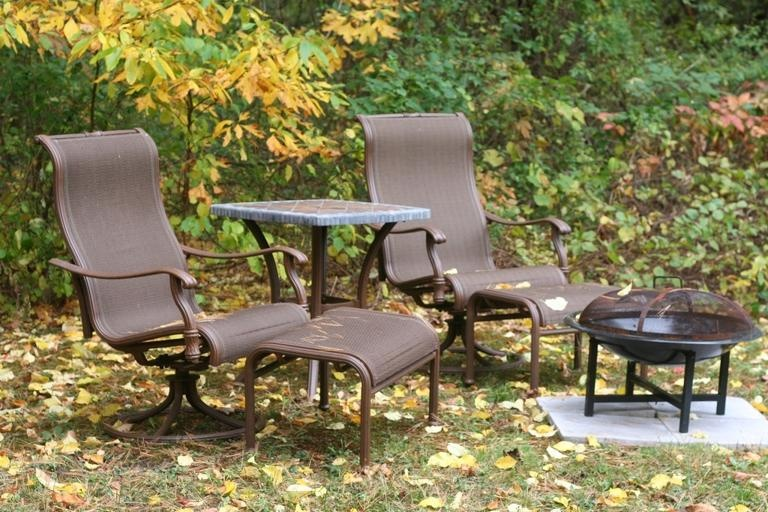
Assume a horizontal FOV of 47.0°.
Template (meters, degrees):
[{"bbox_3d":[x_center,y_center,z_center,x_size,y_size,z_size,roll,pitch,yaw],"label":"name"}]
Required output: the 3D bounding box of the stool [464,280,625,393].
[{"bbox_3d":[0.877,0.565,6.171,0.808,0.610,1.206,4,0,26],"label":"stool"}]

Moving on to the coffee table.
[{"bbox_3d":[-0.373,0.248,6.036,1.482,1.195,1.455,3,5,37],"label":"coffee table"}]

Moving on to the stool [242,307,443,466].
[{"bbox_3d":[-0.232,0.702,5.158,1.114,0.540,1.072,1,12,4],"label":"stool"}]
